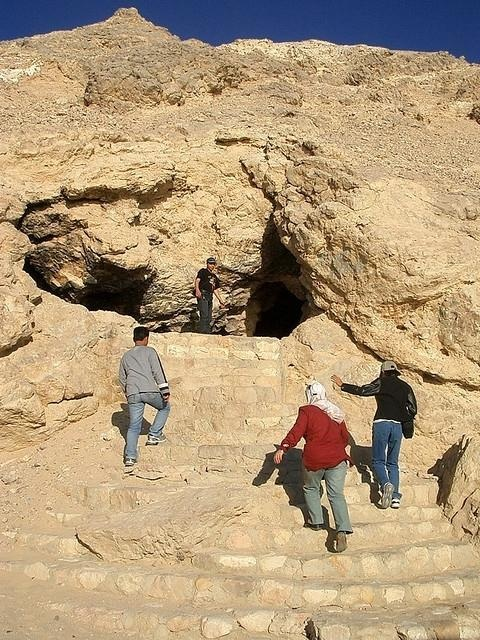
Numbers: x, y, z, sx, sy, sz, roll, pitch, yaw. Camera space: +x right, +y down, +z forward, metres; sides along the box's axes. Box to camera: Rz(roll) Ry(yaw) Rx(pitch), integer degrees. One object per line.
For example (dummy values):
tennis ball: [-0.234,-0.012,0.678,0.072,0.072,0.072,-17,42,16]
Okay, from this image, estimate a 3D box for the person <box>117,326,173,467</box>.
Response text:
person: [-1.065,0.970,8.502,0.548,1.327,0.404,0,5,-8]

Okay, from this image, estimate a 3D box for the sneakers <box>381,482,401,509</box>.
sneakers: [1.515,1.757,7.552,0.223,0.271,0.131,0,5,-8]

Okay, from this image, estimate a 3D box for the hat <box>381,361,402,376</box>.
hat: [1.627,0.512,8.214,0.152,0.097,0.191,3,-3,-17]

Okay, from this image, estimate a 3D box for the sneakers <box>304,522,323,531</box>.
sneakers: [0.712,1.954,7.190,0.072,0.061,0.177,0,1,-20]

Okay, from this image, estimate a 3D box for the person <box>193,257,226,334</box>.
person: [-0.521,-0.401,12.081,0.394,1.194,0.789,2,5,13]

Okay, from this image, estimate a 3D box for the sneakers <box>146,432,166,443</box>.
sneakers: [-0.947,1.352,8.725,0.095,0.098,0.252,4,6,39]

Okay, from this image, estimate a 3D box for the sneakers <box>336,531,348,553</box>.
sneakers: [0.925,2.022,6.939,0.120,0.205,0.156,2,1,2]

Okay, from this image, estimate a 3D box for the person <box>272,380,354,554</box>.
person: [0.740,1.376,7.131,0.673,1.524,0.600,2,5,8]

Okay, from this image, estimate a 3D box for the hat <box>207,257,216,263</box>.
hat: [-0.454,-0.970,12.159,0.126,0.071,0.150,4,-19,-11]

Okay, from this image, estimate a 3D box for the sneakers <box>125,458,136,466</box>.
sneakers: [-1.217,1.578,8.390,0.124,0.121,0.110,0,5,-7]
